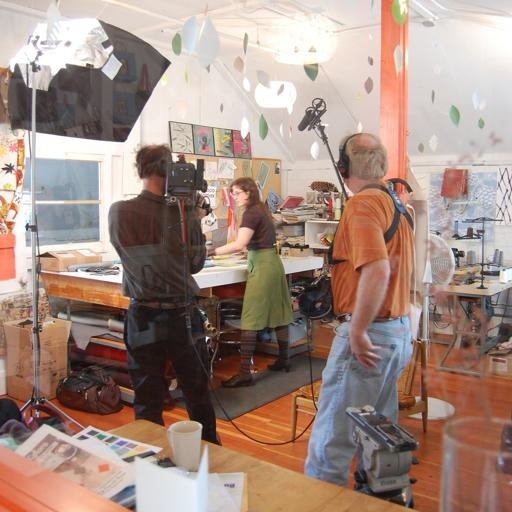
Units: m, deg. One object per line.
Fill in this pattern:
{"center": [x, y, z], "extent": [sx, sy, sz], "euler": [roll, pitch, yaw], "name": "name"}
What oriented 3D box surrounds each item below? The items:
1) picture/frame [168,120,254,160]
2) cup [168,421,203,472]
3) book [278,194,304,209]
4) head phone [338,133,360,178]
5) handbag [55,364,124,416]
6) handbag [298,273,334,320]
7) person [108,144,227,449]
{"center": [-0.106, -0.258, 1.070], "extent": [0.185, 0.083, 0.057], "euler": [0, 5, -5], "name": "picture/frame"}
{"center": [-0.122, 0.322, 0.824], "extent": [0.067, 0.074, 0.077], "euler": [-1, -4, -10], "name": "cup"}
{"center": [0.081, -0.121, 1.084], "extent": [0.034, 0.028, 0.083], "euler": [-2, 5, -27], "name": "book"}
{"center": [0.214, -0.239, 1.118], "extent": [0.035, 0.079, 0.090], "euler": [3, 11, 32], "name": "head phone"}
{"center": [-0.575, 0.456, 1.644], "extent": [0.256, 0.149, 0.145], "euler": [0, -5, 40], "name": "handbag"}
{"center": [0.169, 0.114, 1.289], "extent": [0.090, 0.123, 0.046], "euler": [-25, -24, 24], "name": "handbag"}
{"center": [-0.238, 0.097, 1.207], "extent": [0.299, 0.728, 0.139], "euler": [2, 5, 24], "name": "person"}
